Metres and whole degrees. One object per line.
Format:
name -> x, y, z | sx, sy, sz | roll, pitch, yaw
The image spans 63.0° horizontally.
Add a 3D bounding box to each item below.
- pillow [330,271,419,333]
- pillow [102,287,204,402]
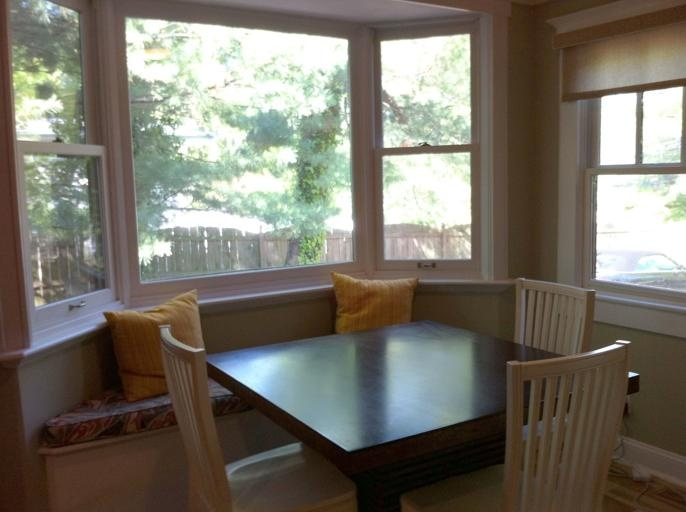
pillow -> 0.187, 0.306, 3.509 | 0.373, 0.350, 0.145 | 1, -3, -3
pillow -> -0.986, 0.495, 3.068 | 0.516, 0.508, 0.196 | -9, 8, -38
